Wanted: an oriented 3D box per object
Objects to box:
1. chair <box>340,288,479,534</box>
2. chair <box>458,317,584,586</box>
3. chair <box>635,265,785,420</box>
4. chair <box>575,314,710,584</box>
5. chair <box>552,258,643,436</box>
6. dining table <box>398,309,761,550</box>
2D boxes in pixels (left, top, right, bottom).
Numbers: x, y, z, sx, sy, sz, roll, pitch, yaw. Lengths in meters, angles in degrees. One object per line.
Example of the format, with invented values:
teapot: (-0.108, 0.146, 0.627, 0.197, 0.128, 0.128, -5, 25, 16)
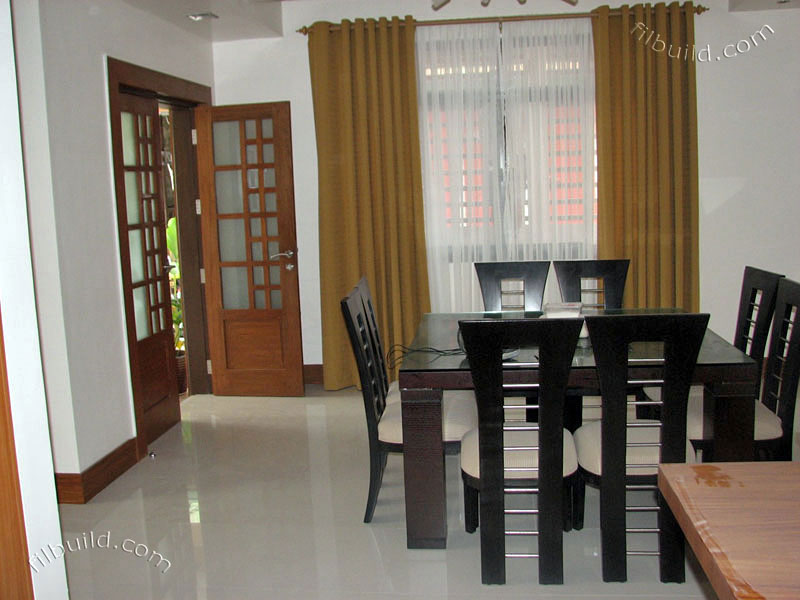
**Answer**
chair: (-0.081, 0.449, 4.237, 1.014, 1.639, 1.080, -1, 13, 0)
chair: (0.544, 0.641, 3.198, 0.538, 1.248, 0.462, -1, 12, 5)
chair: (1.809, 0.149, 4.117, 0.652, 1.267, 0.647, 1, 10, 8)
chair: (1.107, 0.613, 3.295, 0.566, 1.277, 0.666, -2, 13, 10)
chair: (1.033, 0.440, 3.931, 0.343, 0.615, 0.387, -11, 0, 12)
dining table: (0.778, 0.474, 3.524, 1.274, 0.721, 1.292, -1, 6, 0)
